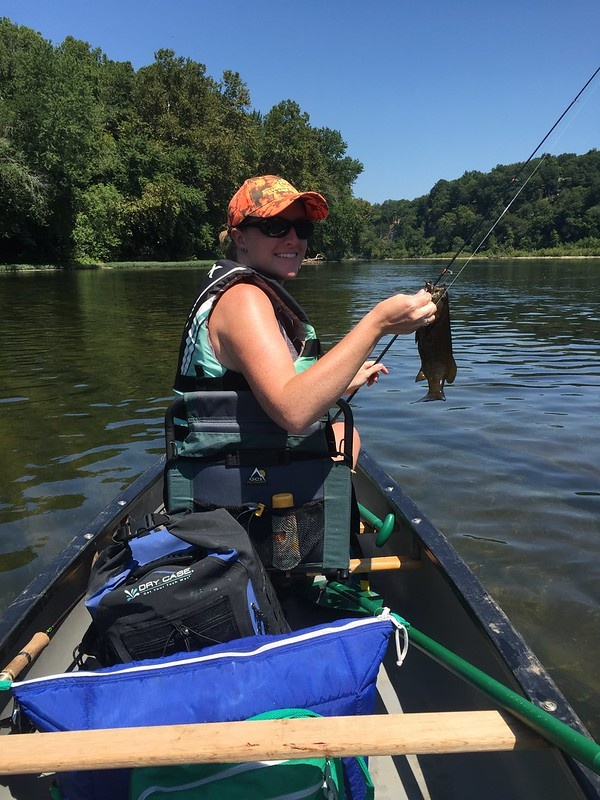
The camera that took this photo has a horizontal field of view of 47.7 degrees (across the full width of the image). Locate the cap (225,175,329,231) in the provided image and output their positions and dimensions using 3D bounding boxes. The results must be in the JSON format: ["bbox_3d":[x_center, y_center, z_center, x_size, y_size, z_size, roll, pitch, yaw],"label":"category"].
[{"bbox_3d":[-0.080,-0.658,2.253,0.244,0.167,0.377,-9,9,-39],"label":"cap"}]
